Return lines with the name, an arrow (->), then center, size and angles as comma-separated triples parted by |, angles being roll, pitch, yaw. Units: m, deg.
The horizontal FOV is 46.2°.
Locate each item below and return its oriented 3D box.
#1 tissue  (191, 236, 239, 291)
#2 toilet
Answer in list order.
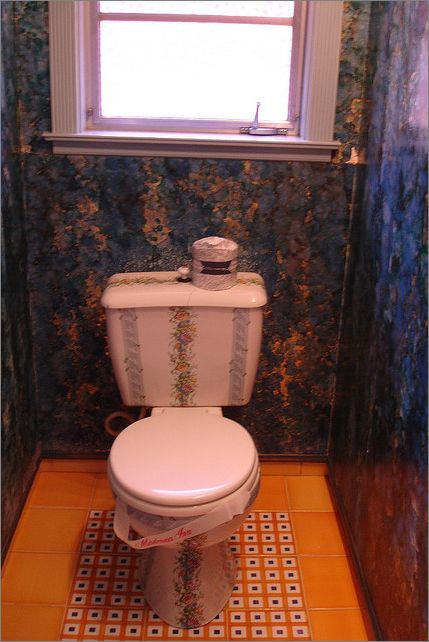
tissue  -> 0.001, -0.150, 1.378 | 0.129, 0.140, 0.132 | 0, 26, -1
toilet -> -0.082, 0.339, 1.306 | 0.414, 0.777, 0.614 | 0, 24, -2
